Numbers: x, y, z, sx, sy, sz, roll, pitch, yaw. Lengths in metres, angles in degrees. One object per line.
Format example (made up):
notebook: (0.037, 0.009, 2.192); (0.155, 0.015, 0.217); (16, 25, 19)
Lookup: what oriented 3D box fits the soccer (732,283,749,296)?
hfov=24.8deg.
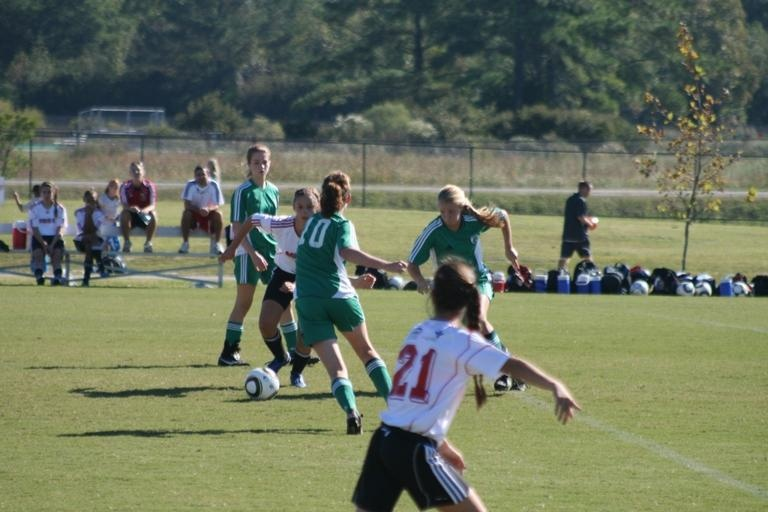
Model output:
soccer: (18.558, 1.650, 90.625); (0.767, 0.583, 0.525); (1, 8, 0)

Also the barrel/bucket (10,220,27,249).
barrel/bucket: (-19.074, -1.142, 91.681); (0.824, 1.482, 0.482); (0, 2, -6)
